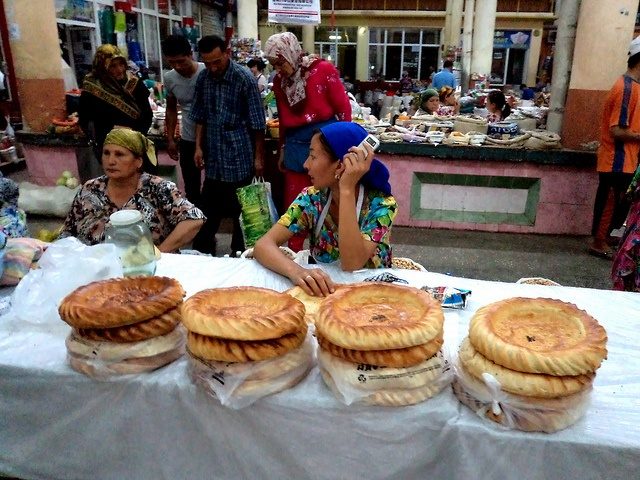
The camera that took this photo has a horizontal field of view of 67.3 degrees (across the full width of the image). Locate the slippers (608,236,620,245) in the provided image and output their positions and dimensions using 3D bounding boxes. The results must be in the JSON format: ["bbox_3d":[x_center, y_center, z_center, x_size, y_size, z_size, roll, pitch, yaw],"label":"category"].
[{"bbox_3d":[3.322,0.008,5.425,0.106,0.041,0.099,6,55,10],"label":"slippers"}]

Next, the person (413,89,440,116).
[{"bbox_3d":[1.790,-2.284,7.913,0.328,0.373,0.727,7,20,10],"label":"person"}]

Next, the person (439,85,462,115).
[{"bbox_3d":[2.254,-2.466,8.439,0.346,0.410,1.439,8,20,12],"label":"person"}]

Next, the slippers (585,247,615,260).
[{"bbox_3d":[3.056,0.131,5.254,0.260,0.188,0.095,3,26,39],"label":"slippers"}]
